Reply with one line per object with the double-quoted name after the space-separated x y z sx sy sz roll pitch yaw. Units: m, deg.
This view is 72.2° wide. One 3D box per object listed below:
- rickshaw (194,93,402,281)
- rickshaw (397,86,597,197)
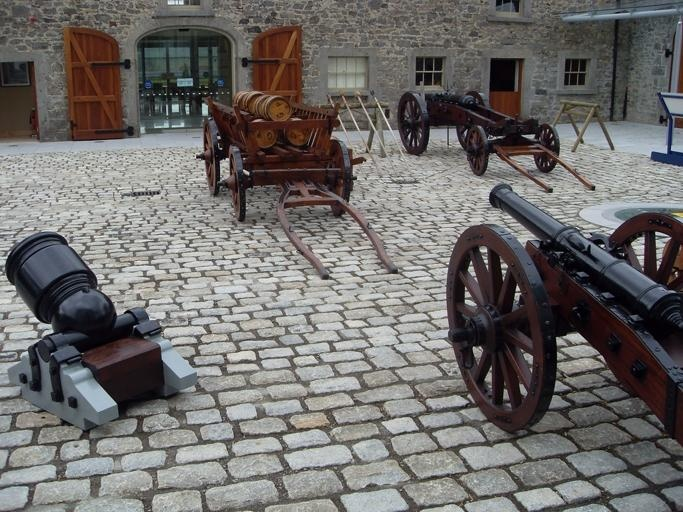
-0.754 -1.324 6.952 1.863 1.340 4.420 -5 26 -23 "rickshaw"
3.302 -2.907 10.862 1.857 1.785 4.765 -10 21 -23 "rickshaw"
